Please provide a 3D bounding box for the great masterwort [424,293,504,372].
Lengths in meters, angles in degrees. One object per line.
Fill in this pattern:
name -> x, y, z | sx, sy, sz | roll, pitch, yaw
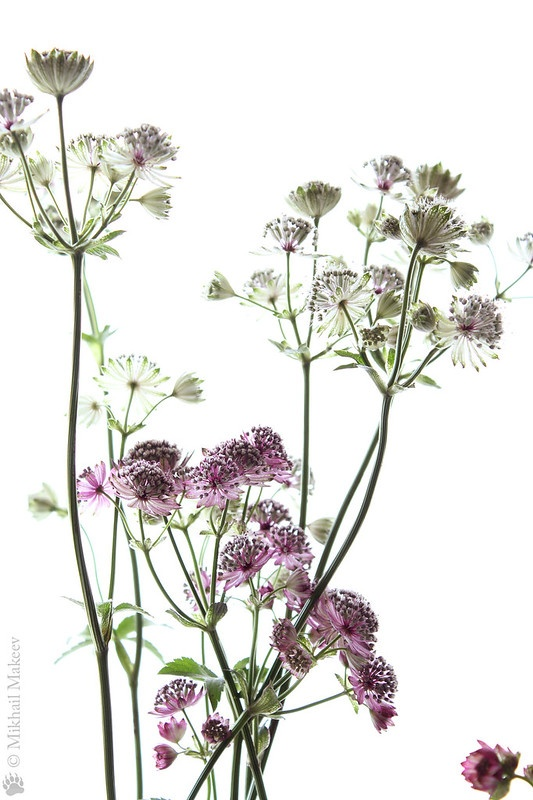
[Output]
great masterwort -> 0.228, -0.078, 0.911 | 0.089, 0.074, 0.054 | -19, -44, 20

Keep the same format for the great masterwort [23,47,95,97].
great masterwort -> -0.229, -0.360, 0.870 | 0.066, 0.030, 0.052 | -5, -42, 4

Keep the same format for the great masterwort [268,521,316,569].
great masterwort -> 0.029, 0.179, 0.991 | 0.057, 0.079, 0.041 | 0, -40, -1

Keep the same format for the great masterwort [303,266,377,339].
great masterwort -> 0.091, -0.103, 0.972 | 0.076, 0.089, 0.085 | -2, -41, 1

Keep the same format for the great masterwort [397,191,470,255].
great masterwort -> 0.182, -0.202, 0.884 | 0.068, 0.068, 0.058 | -7, -41, 7

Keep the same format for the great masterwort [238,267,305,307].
great masterwort -> -0.001, -0.154, 1.073 | 0.062, 0.073, 0.045 | 4, -68, 25

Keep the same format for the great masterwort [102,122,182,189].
great masterwort -> -0.150, -0.295, 0.941 | 0.086, 0.072, 0.058 | -1, -41, 0

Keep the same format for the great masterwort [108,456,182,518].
great masterwort -> -0.141, 0.097, 0.919 | 0.083, 0.069, 0.041 | 10, -41, -12

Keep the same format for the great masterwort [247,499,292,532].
great masterwort -> 0.005, 0.150, 1.034 | 0.059, 0.044, 0.061 | 5, -18, -15
